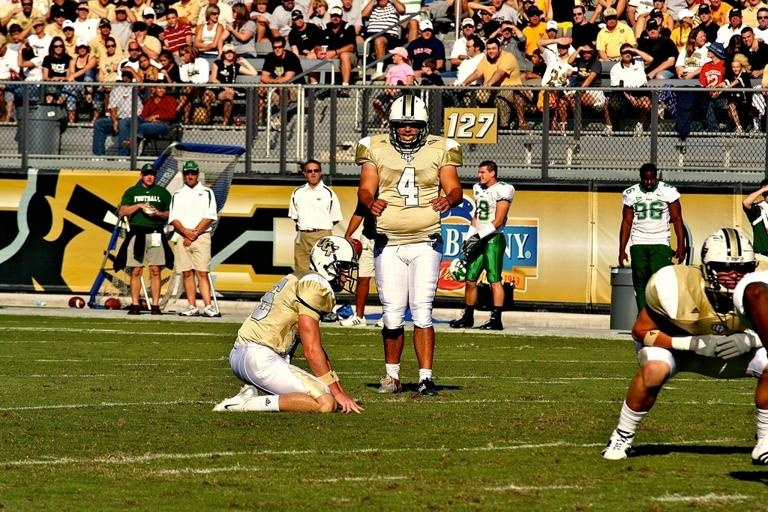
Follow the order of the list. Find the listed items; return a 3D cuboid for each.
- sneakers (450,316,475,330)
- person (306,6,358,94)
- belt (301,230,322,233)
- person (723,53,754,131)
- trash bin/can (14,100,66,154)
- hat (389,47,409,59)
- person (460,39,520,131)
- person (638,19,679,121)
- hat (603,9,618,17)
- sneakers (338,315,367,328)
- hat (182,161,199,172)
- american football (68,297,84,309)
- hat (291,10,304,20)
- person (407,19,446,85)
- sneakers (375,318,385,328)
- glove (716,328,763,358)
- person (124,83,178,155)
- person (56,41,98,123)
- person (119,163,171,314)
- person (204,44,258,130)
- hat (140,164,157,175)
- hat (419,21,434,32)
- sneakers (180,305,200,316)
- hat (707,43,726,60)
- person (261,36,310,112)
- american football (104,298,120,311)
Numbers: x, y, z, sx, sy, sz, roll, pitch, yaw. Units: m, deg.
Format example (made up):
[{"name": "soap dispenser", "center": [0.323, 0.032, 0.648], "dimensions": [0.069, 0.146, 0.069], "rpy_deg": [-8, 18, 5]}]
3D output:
[{"name": "sneakers", "center": [1.242, 1.031, 28.931], "dimensions": [0.313, 0.127, 0.190], "rpy_deg": [0, 2, 2]}, {"name": "person", "center": [-0.824, -3.889, 33.429], "dimensions": [0.814, 1.471, 1.046], "rpy_deg": [0, 1, -25]}, {"name": "belt", "center": [-1.157, -0.418, 28.773], "dimensions": [0.336, 0.049, 0.043], "rpy_deg": [0, 1, -4]}, {"name": "person", "center": [6.020, -2.739, 30.487], "dimensions": [0.423, 1.362, 0.818], "rpy_deg": [1, 1, 10]}, {"name": "trash bin/can", "center": [-6.020, -2.250, 31.830], "dimensions": [0.854, 0.868, 0.879], "rpy_deg": [0, 2, 3]}, {"name": "hat", "center": [0.266, -3.621, 32.243], "dimensions": [0.325, 0.145, 0.221], "rpy_deg": [15, 9, 13]}, {"name": "person", "center": [1.911, -2.978, 31.228], "dimensions": [0.936, 1.587, 1.331], "rpy_deg": [1, 1, 4]}, {"name": "person", "center": [4.867, -3.456, 32.454], "dimensions": [0.749, 1.647, 0.974], "rpy_deg": [0, 0, 13]}, {"name": "hat", "center": [4.180, -4.435, 33.118], "dimensions": [0.201, 0.140, 0.285], "rpy_deg": [1, 10, 8]}, {"name": "sneakers", "center": [-0.499, 1.012, 29.028], "dimensions": [0.450, 0.203, 0.170], "rpy_deg": [2, 2, -5]}, {"name": "hat", "center": [-3.150, -1.461, 29.373], "dimensions": [0.212, 0.201, 0.315], "rpy_deg": [1, 1, 3]}, {"name": "american football", "center": [-5.208, 0.750, 30.431], "dimensions": [0.179, 0.130, 0.221], "rpy_deg": [7, -2, -1]}, {"name": "hat", "center": [-1.631, -4.518, 34.034], "dimensions": [0.153, 0.120, 0.204], "rpy_deg": [-14, -4, -27]}, {"name": "person", "center": [0.722, -3.687, 32.625], "dimensions": [0.715, 1.101, 0.851], "rpy_deg": [0, 2, -35]}, {"name": "sneakers", "center": [-0.056, 1.039, 29.281], "dimensions": [0.138, 0.174, 0.405], "rpy_deg": [3, 3, -3]}, {"name": "glove", "center": [4.160, 0.999, 21.106], "dimensions": [0.540, 0.285, 0.162], "rpy_deg": [-8, -16, -14]}, {"name": "person", "center": [-3.960, -2.453, 31.481], "dimensions": [0.719, 0.923, 0.208], "rpy_deg": [1, 1, 19]}, {"name": "person", "center": [-5.512, -3.096, 32.610], "dimensions": [0.571, 1.514, 1.714], "rpy_deg": [0, 1, -8]}, {"name": "person", "center": [-3.948, -0.289, 29.656], "dimensions": [0.844, 2.413, 0.633], "rpy_deg": [0, 1, -8]}, {"name": "person", "center": [-2.758, -3.024, 32.106], "dimensions": [0.825, 1.490, 2.008], "rpy_deg": [1, 1, -2]}, {"name": "hat", "center": [-3.862, -1.414, 29.546], "dimensions": [0.221, 0.162, 0.287], "rpy_deg": [0, 1, -8]}, {"name": "hat", "center": [0.771, -4.133, 32.744], "dimensions": [0.287, 0.150, 0.420], "rpy_deg": [-1, 9, -3]}, {"name": "sneakers", "center": [-3.236, 0.864, 29.687], "dimensions": [0.375, 0.157, 0.148], "rpy_deg": [2, 4, 18]}, {"name": "hat", "center": [5.883, -3.587, 31.729], "dimensions": [0.303, 0.120, 0.304], "rpy_deg": [29, 27, 4]}, {"name": "person", "center": [-1.829, -3.206, 32.044], "dimensions": [0.763, 1.363, 1.760], "rpy_deg": [1, 1, -3]}, {"name": "american football", "center": [-4.594, 0.760, 30.495], "dimensions": [0.280, 0.183, 0.249], "rpy_deg": [0, 1, -12]}]
